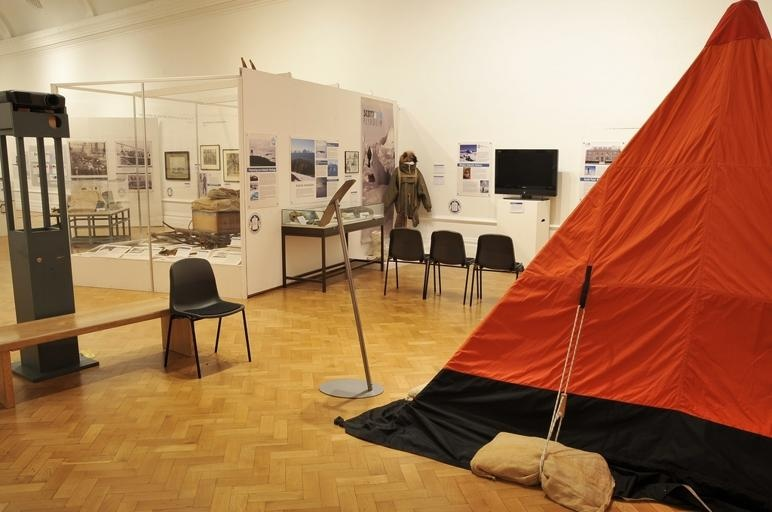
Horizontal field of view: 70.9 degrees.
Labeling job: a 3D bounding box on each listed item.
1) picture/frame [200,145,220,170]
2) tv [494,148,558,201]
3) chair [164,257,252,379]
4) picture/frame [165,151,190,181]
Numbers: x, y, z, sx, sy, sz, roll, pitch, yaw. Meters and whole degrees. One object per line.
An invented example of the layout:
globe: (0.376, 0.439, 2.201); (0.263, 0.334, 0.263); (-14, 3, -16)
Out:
picture/frame: (-2.388, -1.360, 7.387); (0.338, 0.405, 0.019); (2, 3, 2)
tv: (2.431, -1.426, 9.262); (0.910, 0.752, 0.378); (3, 5, 24)
chair: (-1.856, 0.577, 5.595); (0.687, 1.066, 0.764); (3, 7, 21)
picture/frame: (-2.873, -1.276, 7.493); (0.384, 0.415, 0.029); (7, 20, 10)
